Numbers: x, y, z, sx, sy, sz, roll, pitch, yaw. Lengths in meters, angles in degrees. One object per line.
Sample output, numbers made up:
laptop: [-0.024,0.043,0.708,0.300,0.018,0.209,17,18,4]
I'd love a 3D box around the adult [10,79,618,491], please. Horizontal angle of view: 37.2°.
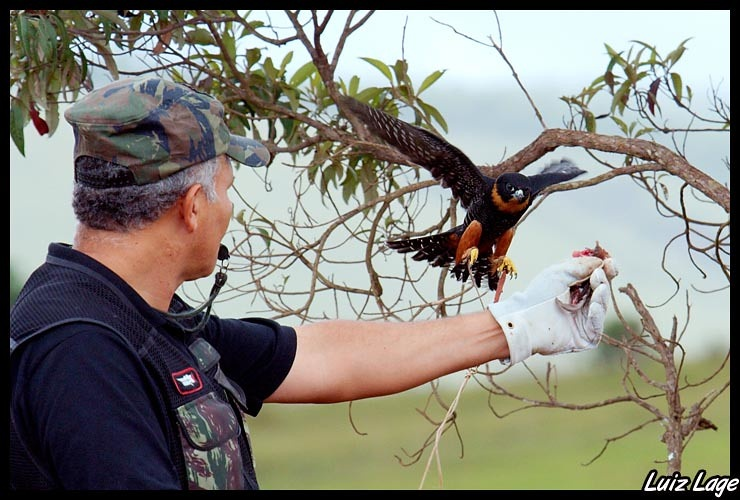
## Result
adult: [-0.469,0.068,4.721,2.073,1.872,1.371,-3,4,-20]

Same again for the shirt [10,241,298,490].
shirt: [-0.789,0.438,4.051,0.522,0.973,1.024,-16,-12,41]

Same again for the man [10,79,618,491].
man: [-0.466,0.124,4.750,2.073,1.872,1.371,-3,4,-20]

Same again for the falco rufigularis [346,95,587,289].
falco rufigularis: [0.396,-0.216,4.679,1.117,0.627,0.792,12,-18,-29]

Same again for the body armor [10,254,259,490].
body armor: [-0.852,0.441,3.744,0.505,0.892,0.717,-13,-4,5]
